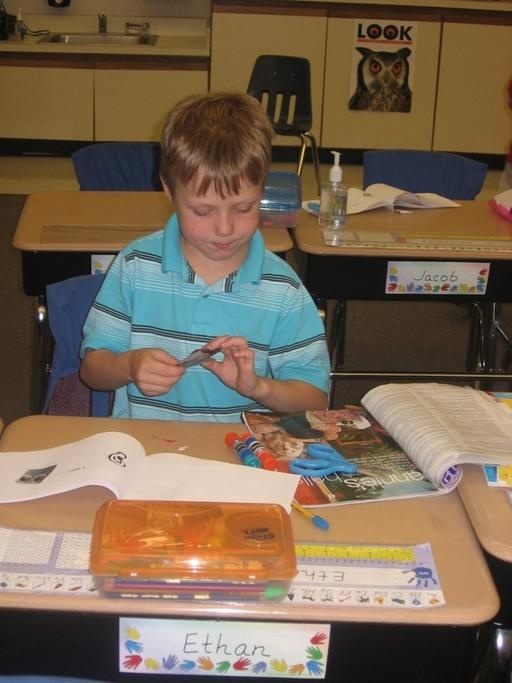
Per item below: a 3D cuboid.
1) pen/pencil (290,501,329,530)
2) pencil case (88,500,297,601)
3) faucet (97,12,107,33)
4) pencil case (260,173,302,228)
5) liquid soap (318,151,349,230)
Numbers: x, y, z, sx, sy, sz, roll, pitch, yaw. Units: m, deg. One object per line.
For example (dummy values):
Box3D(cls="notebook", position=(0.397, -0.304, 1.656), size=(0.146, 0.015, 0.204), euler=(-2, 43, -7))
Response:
Box3D(cls="pen/pencil", position=(0.064, 0.201, 0.652), size=(0.013, 0.015, 0.067), euler=(-25, 35, -30))
Box3D(cls="pencil case", position=(-0.056, 0.208, 0.563), size=(0.194, 0.052, 0.107), euler=(3, 19, -4))
Box3D(cls="faucet", position=(-1.421, -2.939, 5.276), size=(0.091, 0.177, 0.229), euler=(-5, 27, -13))
Box3D(cls="pencil case", position=(0.092, -0.478, 1.992), size=(0.201, 0.161, 0.159), euler=(14, 21, 36))
Box3D(cls="liquid soap", position=(0.255, -0.495, 1.849), size=(0.094, 0.237, 0.091), euler=(8, 32, 14))
